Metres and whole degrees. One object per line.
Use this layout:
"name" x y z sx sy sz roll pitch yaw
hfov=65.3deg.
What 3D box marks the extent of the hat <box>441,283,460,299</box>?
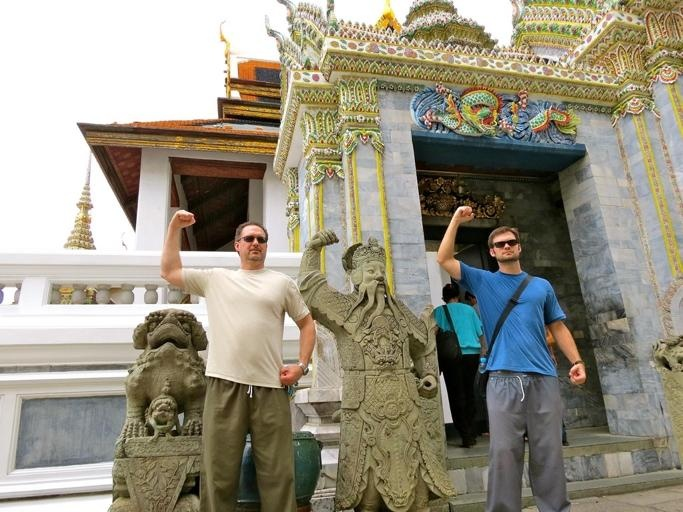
"hat" 1.369 0.443 6.635 0.183 0.225 0.218 0 8 1
